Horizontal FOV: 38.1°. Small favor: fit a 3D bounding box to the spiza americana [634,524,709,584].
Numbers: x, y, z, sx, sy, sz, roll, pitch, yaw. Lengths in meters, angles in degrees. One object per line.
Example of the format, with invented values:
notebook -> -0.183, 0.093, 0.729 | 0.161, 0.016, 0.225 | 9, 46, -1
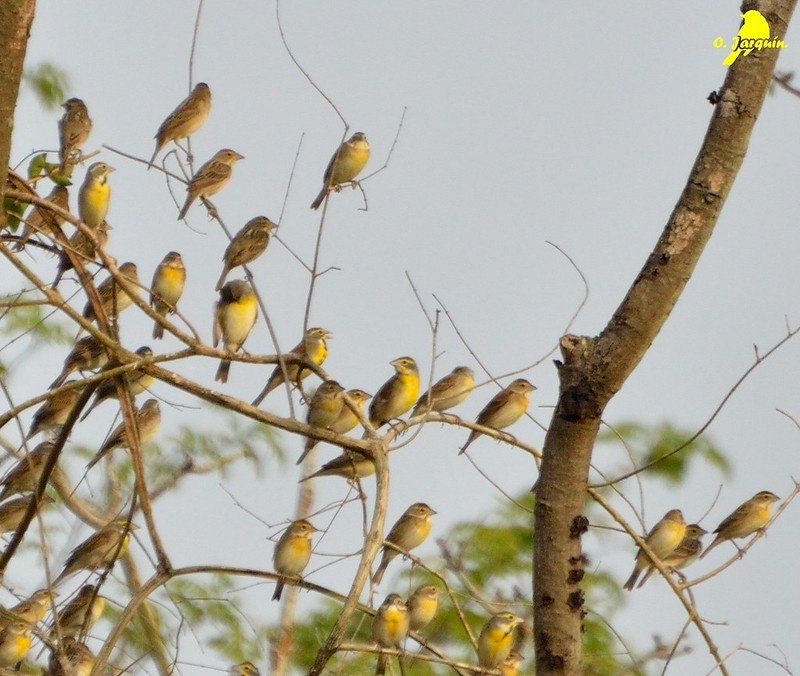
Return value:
spiza americana -> 2.598, 2.067, 11.005 | 0.683, 0.562, 0.288 | 1, -23, -4
